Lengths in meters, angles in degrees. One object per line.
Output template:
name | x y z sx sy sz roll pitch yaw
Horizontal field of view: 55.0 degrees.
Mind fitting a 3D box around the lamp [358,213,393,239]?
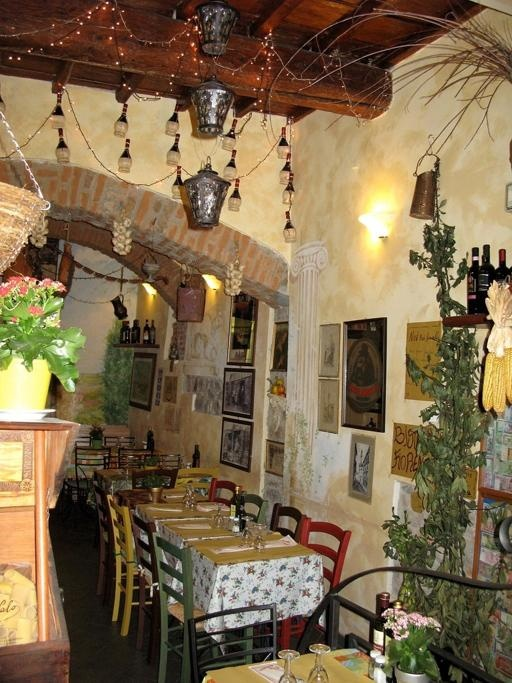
lamp | 0.877 -0.838 3.566 0.162 0.175 0.195 9 -6 -32

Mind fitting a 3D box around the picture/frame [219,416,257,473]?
picture/frame | -0.185 1.158 5.517 0.050 0.699 0.727 3 -4 -27

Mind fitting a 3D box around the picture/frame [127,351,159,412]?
picture/frame | -2.084 0.741 9.086 0.073 1.261 1.222 6 -2 -27

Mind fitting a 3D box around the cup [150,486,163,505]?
cup | -0.897 1.358 4.362 0.118 0.130 0.117 2 0 0

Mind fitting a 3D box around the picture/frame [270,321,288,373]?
picture/frame | 0.247 0.064 5.002 0.041 0.590 0.514 2 0 -19

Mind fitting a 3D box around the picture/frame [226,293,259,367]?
picture/frame | -0.138 -0.127 5.670 0.038 0.942 0.787 8 -7 -26

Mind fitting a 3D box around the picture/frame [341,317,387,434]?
picture/frame | 0.810 0.242 3.693 0.077 0.822 0.601 7 -6 -17

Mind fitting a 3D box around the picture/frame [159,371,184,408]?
picture/frame | -1.364 0.736 7.761 0.112 0.465 0.487 6 -4 -31

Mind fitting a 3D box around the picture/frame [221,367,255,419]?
picture/frame | -0.205 0.580 5.648 0.056 0.559 0.808 8 -6 -26

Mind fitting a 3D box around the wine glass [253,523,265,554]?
wine glass | 0.021 1.306 3.255 0.084 0.136 0.086 1 -17 -2
